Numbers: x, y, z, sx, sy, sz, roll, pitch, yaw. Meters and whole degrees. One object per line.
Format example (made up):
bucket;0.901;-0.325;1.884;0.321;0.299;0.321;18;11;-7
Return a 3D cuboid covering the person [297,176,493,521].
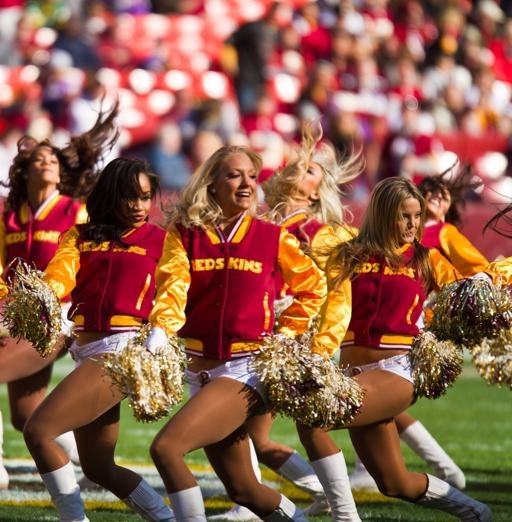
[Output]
person;0.610;0.364;3.552;0.837;1.426;0.604;5;9;-11
